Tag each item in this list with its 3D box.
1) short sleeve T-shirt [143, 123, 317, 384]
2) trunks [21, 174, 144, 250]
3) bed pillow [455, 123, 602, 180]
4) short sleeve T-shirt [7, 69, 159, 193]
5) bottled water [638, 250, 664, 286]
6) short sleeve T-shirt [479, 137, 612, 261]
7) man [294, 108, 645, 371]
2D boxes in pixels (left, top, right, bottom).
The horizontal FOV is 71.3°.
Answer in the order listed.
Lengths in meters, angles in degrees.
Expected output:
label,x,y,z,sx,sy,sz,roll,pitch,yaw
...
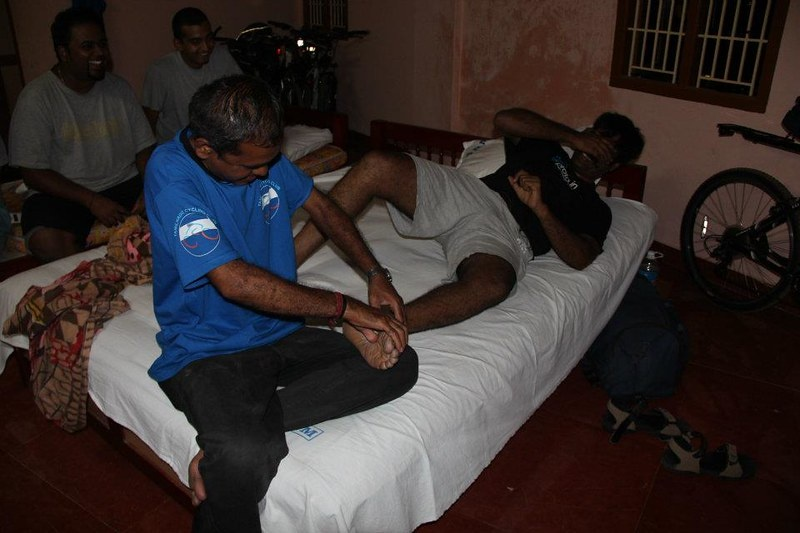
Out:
label,x,y,z,sx,sy,sz,roll,pitch,yaw
short sleeve T-shirt,-0.721,-0.022,2.335,0.531,0.907,0.840,24,37,24
trunks,-2.073,-0.329,3.684,0.566,0.182,0.559,33,53,15
bed pillow,0.813,-0.708,3.460,0.435,0.140,0.473,30,51,32
short sleeve T-shirt,-2.112,-0.920,3.712,0.452,0.720,0.934,29,35,23
bottled water,1.762,0.015,3.922,0.120,0.281,0.104,26,51,25
short sleeve T-shirt,0.823,-0.378,3.546,0.779,0.280,0.593,46,65,0
man,0.403,0.000,3.368,2.010,0.850,1.178,-20,54,-20
